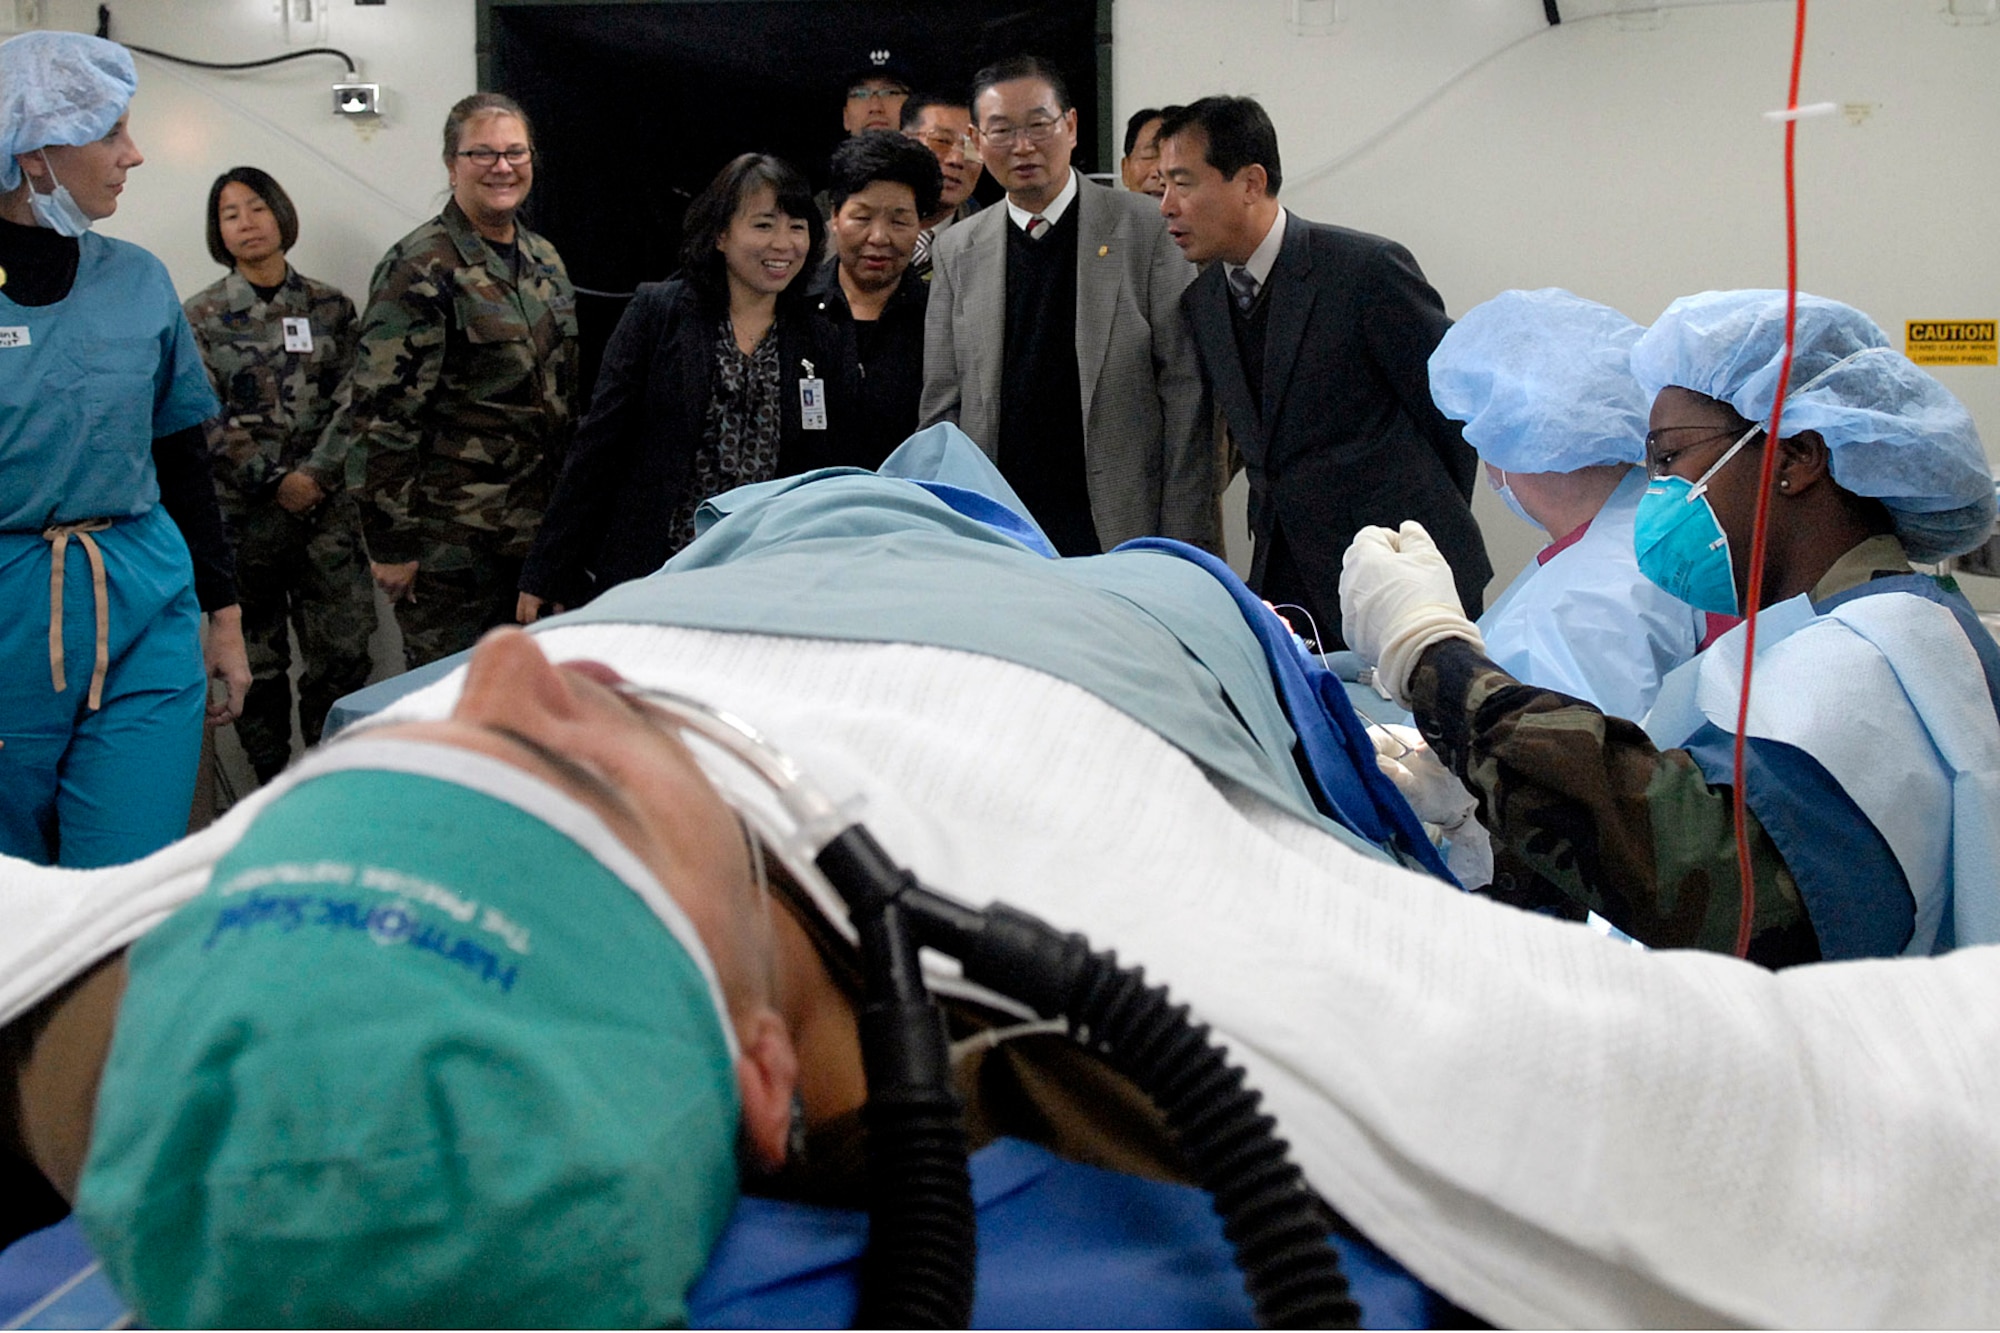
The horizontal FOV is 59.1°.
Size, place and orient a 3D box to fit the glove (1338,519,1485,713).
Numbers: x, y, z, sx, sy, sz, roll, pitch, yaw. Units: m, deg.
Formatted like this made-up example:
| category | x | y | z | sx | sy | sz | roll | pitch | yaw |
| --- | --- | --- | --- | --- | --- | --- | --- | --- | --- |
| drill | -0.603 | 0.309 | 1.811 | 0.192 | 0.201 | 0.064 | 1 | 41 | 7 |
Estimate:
| category | x | y | z | sx | sy | sz | roll | pitch | yaw |
| --- | --- | --- | --- | --- | --- | --- | --- | --- | --- |
| glove | 0.553 | -0.082 | 2.398 | 0.147 | 0.118 | 0.282 | -11 | 39 | 3 |

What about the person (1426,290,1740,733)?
| category | x | y | z | sx | sy | sz | roll | pitch | yaw |
| --- | --- | --- | --- | --- | --- | --- | --- | --- | --- |
| person | 1.035 | -0.297 | 3.146 | 0.433 | 0.694 | 0.769 | 1 | 21 | 40 |

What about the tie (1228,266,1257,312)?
| category | x | y | z | sx | sy | sz | roll | pitch | yaw |
| --- | --- | --- | --- | --- | --- | --- | --- | --- | --- |
| tie | 0.549 | -0.847 | 3.973 | 0.062 | 0.093 | 0.024 | -4 | 5 | 35 |

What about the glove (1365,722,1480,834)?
| category | x | y | z | sx | sy | sz | roll | pitch | yaw |
| --- | --- | --- | --- | --- | --- | --- | --- | --- | --- |
| glove | 0.580 | 0.164 | 2.424 | 0.094 | 0.169 | 0.042 | -35 | -11 | -13 |

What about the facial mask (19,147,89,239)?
| category | x | y | z | sx | sy | sz | roll | pitch | yaw |
| --- | --- | --- | --- | --- | --- | --- | --- | --- | --- |
| facial mask | -1.571 | -0.769 | 2.913 | 0.048 | 0.088 | 0.070 | -33 | 14 | -30 |

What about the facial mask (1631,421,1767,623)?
| category | x | y | z | sx | sy | sz | roll | pitch | yaw |
| --- | --- | --- | --- | --- | --- | --- | --- | --- | --- |
| facial mask | 0.966 | -0.190 | 2.436 | 0.206 | 0.167 | 0.186 | -27 | -8 | 16 |

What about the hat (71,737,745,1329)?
| category | x | y | z | sx | sy | sz | roll | pitch | yaw |
| --- | --- | --- | --- | --- | --- | --- | --- | --- | --- |
| hat | -0.490 | 0.335 | 1.428 | 0.383 | 0.538 | 0.224 | 3 | 10 | -6 |

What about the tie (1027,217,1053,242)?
| category | x | y | z | sx | sy | sz | roll | pitch | yaw |
| --- | --- | --- | --- | --- | --- | --- | --- | --- | --- |
| tie | 0.090 | -0.990 | 3.994 | 0.040 | 0.059 | 0.014 | 3 | -17 | 11 |
